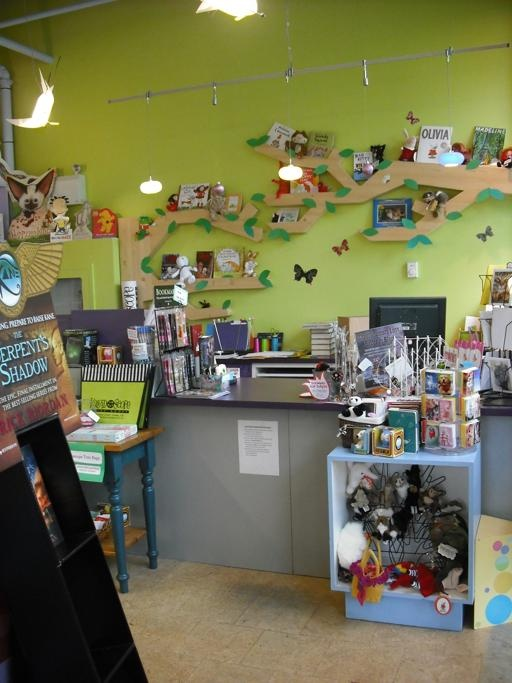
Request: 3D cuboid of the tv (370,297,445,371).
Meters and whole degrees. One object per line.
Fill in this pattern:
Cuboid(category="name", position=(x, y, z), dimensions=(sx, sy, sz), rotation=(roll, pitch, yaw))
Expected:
Cuboid(category="tv", position=(0.800, -0.043, 2.795), dimensions=(0.408, 0.459, 0.046), rotation=(1, 8, 14))

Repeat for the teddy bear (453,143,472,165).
Cuboid(category="teddy bear", position=(1.775, -1.623, 4.598), dimensions=(0.151, 0.222, 0.083), rotation=(-4, 3, -3))

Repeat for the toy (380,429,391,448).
Cuboid(category="toy", position=(0.497, 0.370, 2.046), dimensions=(0.030, 0.068, 0.047), rotation=(-4, 2, 1))

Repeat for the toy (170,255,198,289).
Cuboid(category="toy", position=(-0.742, -0.738, 5.557), dimensions=(0.276, 0.238, 0.161), rotation=(-4, 2, -1))

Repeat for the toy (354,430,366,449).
Cuboid(category="toy", position=(0.417, 0.391, 2.135), dimensions=(0.032, 0.076, 0.062), rotation=(-6, 3, -40))

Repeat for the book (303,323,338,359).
Cuboid(category="book", position=(0.602, -0.012, 4.801), dimensions=(0.373, 0.277, 0.367), rotation=(3, 5, 18))

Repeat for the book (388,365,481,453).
Cuboid(category="book", position=(0.703, 0.241, 2.165), dimensions=(0.341, 0.448, 0.323), rotation=(0, 2, 3))

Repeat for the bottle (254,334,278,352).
Cuboid(category="bottle", position=(0.114, 0.012, 5.248), dimensions=(0.177, 0.165, 0.068), rotation=(0, -3, 4))

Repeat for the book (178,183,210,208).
Cuboid(category="book", position=(-0.617, -1.511, 5.513), dimensions=(0.297, 0.246, 0.040), rotation=(4, 5, 22))

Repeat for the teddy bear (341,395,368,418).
Cuboid(category="teddy bear", position=(0.415, 0.276, 2.250), dimensions=(0.103, 0.080, 0.073), rotation=(-2, 3, 42))

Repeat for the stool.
Cuboid(category="stool", position=(-0.573, 0.820, 2.647), dimensions=(0.181, 0.624, 0.468), rotation=(-4, 2, 8))

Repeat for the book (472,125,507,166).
Cuboid(category="book", position=(1.996, -1.673, 4.546), dimensions=(0.349, 0.449, 0.044), rotation=(6, 5, 17))

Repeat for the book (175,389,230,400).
Cuboid(category="book", position=(-0.262, 0.276, 2.832), dimensions=(0.282, 0.028, 0.262), rotation=(-3, 2, 25))

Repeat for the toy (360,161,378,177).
Cuboid(category="toy", position=(1.023, -1.552, 4.808), dimensions=(0.119, 0.135, 0.119), rotation=(-1, -2, 14))
